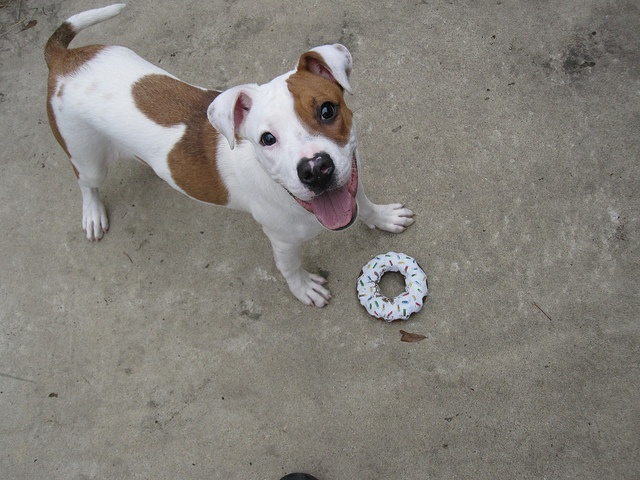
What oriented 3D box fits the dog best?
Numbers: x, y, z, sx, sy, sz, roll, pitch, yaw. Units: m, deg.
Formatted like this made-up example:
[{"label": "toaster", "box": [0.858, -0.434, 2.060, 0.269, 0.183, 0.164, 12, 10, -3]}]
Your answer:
[{"label": "dog", "box": [-1.044, -0.878, 7.007, 3.009, 2.169, 1.983, 18, 85, 2]}]
